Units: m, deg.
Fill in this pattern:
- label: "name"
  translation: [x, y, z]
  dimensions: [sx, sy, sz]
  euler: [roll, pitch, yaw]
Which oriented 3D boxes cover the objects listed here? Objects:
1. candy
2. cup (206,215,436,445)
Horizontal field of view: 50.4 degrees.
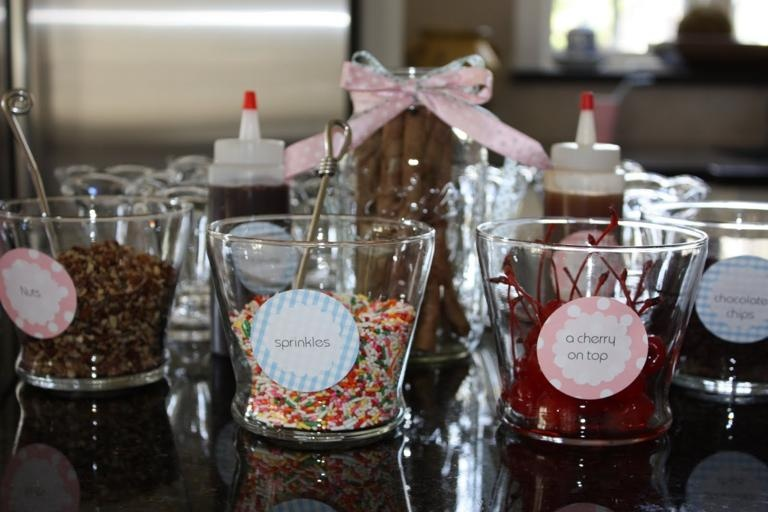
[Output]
- label: "candy"
  translation: [-0.060, 0.114, 0.966]
  dimensions: [0.172, 0.106, 0.163]
  euler: [1, 3, 1]
- label: "cup"
  translation: [-0.078, 0.076, 0.983]
  dimensions: [0.252, 0.223, 0.264]
  euler: [0, 1, 0]
